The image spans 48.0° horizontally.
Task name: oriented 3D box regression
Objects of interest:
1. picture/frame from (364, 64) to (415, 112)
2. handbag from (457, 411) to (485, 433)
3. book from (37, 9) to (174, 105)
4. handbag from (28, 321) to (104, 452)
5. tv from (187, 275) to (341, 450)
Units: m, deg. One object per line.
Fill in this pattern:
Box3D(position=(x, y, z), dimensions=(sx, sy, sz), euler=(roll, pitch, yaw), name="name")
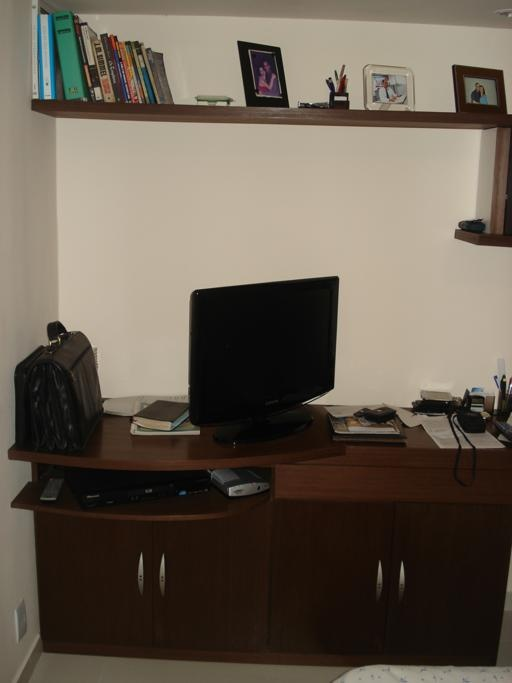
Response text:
Box3D(position=(0.444, -0.851, 1.946), dimensions=(0.208, 0.166, 0.028), euler=(0, -8, -6), name="picture/frame")
Box3D(position=(0.725, 0.273, 1.922), dimensions=(0.056, 0.028, 0.080), euler=(3, 18, 5), name="handbag")
Box3D(position=(-0.507, -0.843, 1.745), dimensions=(0.325, 0.110, 0.322), euler=(-1, -7, -4), name="book")
Box3D(position=(-0.594, 0.149, 1.758), dimensions=(0.125, 0.275, 0.331), euler=(-1, 16, -1), name="handbag")
Box3D(position=(0.022, 0.079, 1.801), dimensions=(0.507, 0.414, 0.134), euler=(-8, 14, -33), name="tv")
